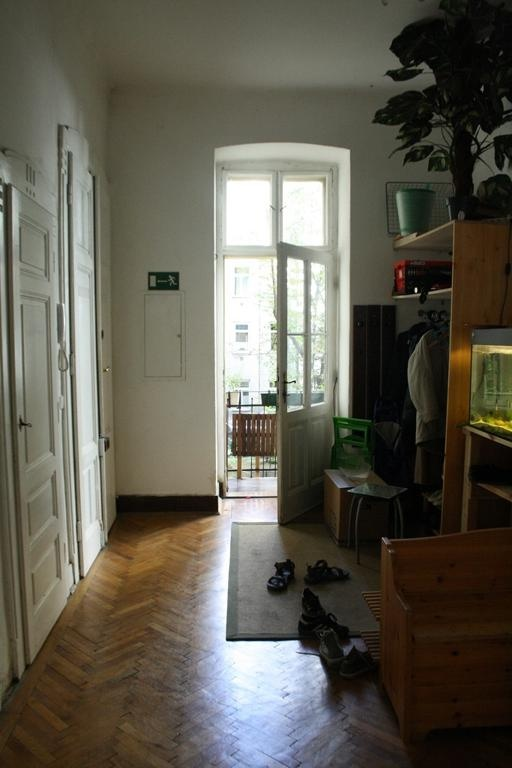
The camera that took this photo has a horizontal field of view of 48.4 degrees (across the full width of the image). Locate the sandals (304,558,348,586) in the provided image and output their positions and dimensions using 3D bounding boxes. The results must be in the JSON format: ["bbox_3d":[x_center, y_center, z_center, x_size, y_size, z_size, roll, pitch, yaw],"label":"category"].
[{"bbox_3d":[0.400,1.087,3.287,0.214,0.123,0.120,-4,3,-22],"label":"sandals"}]

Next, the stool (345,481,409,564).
[{"bbox_3d":[0.811,0.853,3.534,0.280,0.456,0.274,-8,-3,33],"label":"stool"}]

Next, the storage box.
[{"bbox_3d":[0.660,0.855,4.035,0.225,0.407,0.484,-3,4,-6],"label":"storage box"}]

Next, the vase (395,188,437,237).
[{"bbox_3d":[1.008,-1.093,3.684,0.230,0.326,0.270,-1,-2,0],"label":"vase"}]

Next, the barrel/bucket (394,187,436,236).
[{"bbox_3d":[1.035,-1.103,3.685,0.233,0.330,0.273,0,-1,1],"label":"barrel/bucket"}]

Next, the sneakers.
[{"bbox_3d":[0.338,1.088,2.506,0.110,0.193,0.386,-2,8,-5],"label":"sneakers"}]
